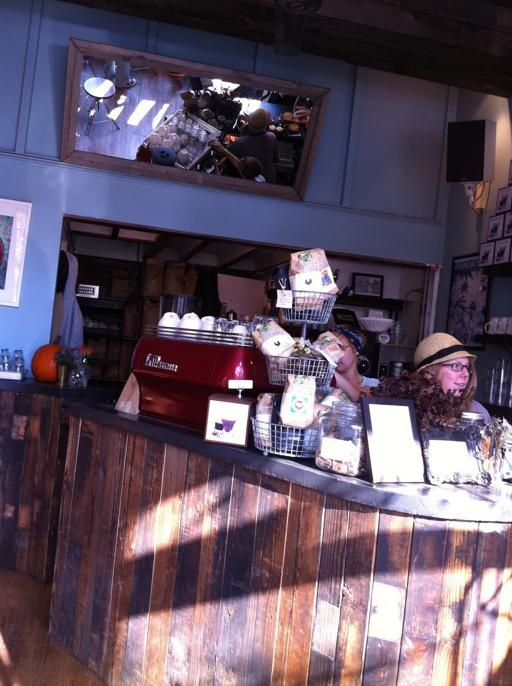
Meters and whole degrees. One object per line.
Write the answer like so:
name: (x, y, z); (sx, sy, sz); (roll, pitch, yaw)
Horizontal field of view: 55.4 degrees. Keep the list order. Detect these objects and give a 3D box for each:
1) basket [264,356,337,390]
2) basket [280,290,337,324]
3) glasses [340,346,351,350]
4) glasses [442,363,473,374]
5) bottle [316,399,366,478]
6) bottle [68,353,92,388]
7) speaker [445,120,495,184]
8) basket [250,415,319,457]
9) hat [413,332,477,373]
basket: (0.116, 0.078, 1.306); (0.178, 0.078, 0.151); (6, 2, 1)
basket: (0.146, -0.110, 1.397); (0.089, 0.064, 0.124); (2, 8, -6)
glasses: (0.339, 0.018, 1.855); (0.029, 0.010, 0.034); (3, 4, 18)
glasses: (0.734, 0.088, 1.794); (0.098, 0.038, 0.040); (6, 2, -12)
bottle: (0.184, 0.246, 1.141); (0.123, 0.187, 0.113); (9, -40, 7)
bottle: (-1.147, 0.172, 3.171); (0.122, 0.164, 0.247); (5, 3, -19)
speaker: (1.695, -1.503, 3.830); (0.233, 0.454, 0.315); (-18, 24, -30)
basket: (0.068, 0.242, 1.330); (0.201, 0.086, 0.163); (6, 6, 42)
hat: (0.682, 0.036, 1.805); (0.181, 0.141, 0.139); (7, 2, 23)
